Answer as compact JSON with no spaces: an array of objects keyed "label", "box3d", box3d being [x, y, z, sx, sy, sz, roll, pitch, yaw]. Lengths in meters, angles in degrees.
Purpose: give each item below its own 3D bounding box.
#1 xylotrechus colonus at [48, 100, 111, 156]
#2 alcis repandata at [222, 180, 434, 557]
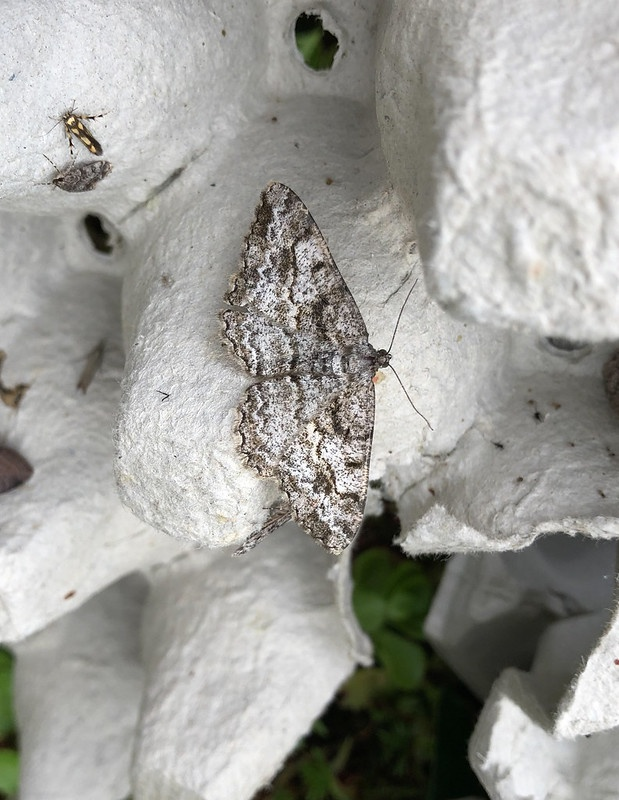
[{"label":"xylotrechus colonus","box3d":[-0.250,-0.303,1.102,0.044,0.045,0.016,-45,31,-17]},{"label":"alcis repandata","box3d":[-0.001,-0.032,1.090,0.174,0.163,0.382,-7,73,2]}]
